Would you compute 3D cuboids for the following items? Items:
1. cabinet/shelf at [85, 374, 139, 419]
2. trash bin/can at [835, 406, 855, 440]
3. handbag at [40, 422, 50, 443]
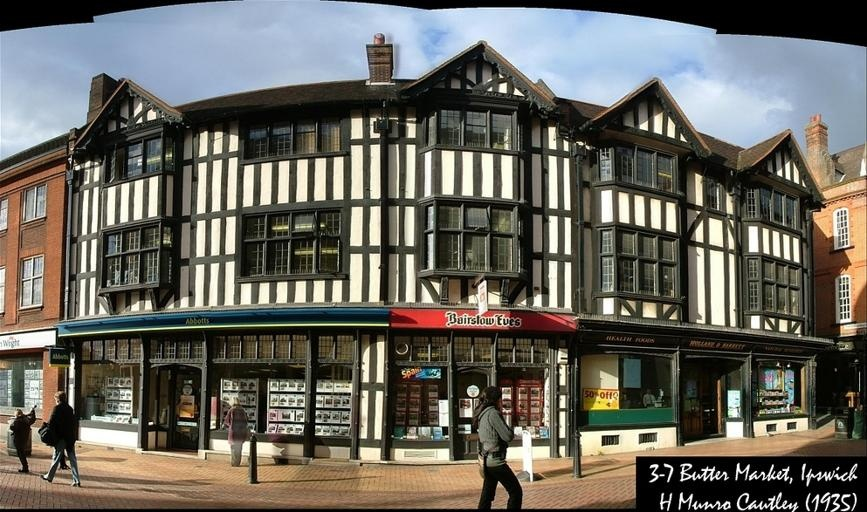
[{"bbox_3d":[-12.513,5.525,41.264,2.103,1.711,0.707,-2,-5,30],"label":"cabinet/shelf"},{"bbox_3d":[16.354,6.627,42.077,0.704,1.196,0.450,-3,4,29],"label":"trash bin/can"},{"bbox_3d":[-12.930,5.914,35.157,0.328,0.552,0.675,-6,3,-25],"label":"handbag"}]
